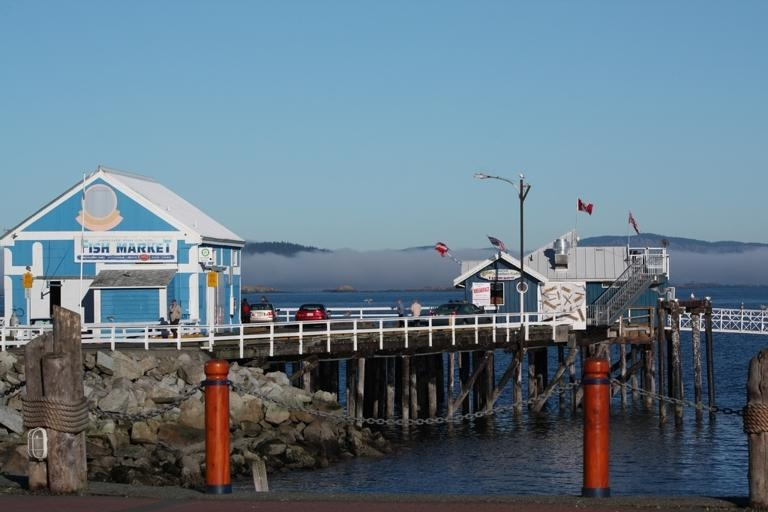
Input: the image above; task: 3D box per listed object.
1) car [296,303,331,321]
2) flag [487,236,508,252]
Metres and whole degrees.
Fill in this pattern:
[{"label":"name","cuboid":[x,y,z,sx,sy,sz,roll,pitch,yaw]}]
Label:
[{"label":"car","cuboid":[-3.732,2.925,88.732,1.649,0.981,2.169,-1,-7,-3]},{"label":"flag","cuboid":[4.573,-0.572,66.706,1.169,0.319,0.097,35,-37,-17]}]
